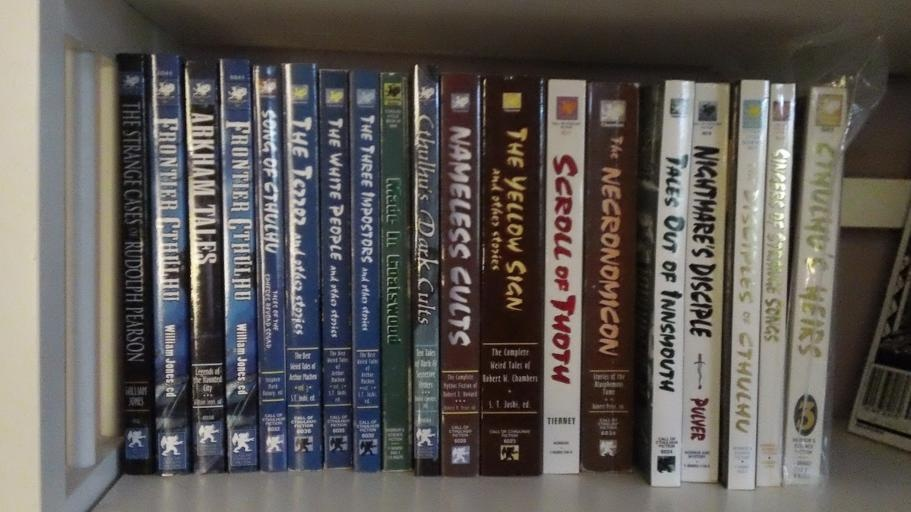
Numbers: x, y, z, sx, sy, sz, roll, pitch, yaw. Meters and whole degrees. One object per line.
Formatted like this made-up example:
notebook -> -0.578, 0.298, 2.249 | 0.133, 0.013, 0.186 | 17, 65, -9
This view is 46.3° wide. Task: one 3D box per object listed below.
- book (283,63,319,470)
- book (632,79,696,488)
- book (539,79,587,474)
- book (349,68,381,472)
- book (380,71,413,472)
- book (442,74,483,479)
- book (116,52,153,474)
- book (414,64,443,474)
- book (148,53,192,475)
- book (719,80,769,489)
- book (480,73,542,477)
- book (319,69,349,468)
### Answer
book -> -0.283, 0.020, 1.977 | 0.063, 0.743, 0.066 | 0, -3, -5
book -> 0.393, 0.050, 1.980 | 0.120, 0.745, 0.069 | -1, -3, 10
book -> 0.204, 0.040, 1.984 | 0.077, 0.727, 0.068 | 0, -3, -4
book -> -0.164, 0.029, 1.977 | 0.055, 0.737, 0.059 | 0, -3, -4
book -> -0.110, 0.029, 1.979 | 0.053, 0.730, 0.062 | 0, -3, -3
book -> 0.011, 0.035, 1.975 | 0.069, 0.738, 0.061 | 0, -3, -4
book -> -0.590, 0.015, 1.964 | 0.061, 0.768, 0.070 | 0, -3, -10
book -> -0.051, 0.028, 1.975 | 0.049, 0.749, 0.063 | 0, -3, -2
book -> -0.527, 0.016, 1.967 | 0.069, 0.770, 0.065 | 0, -3, -10
book -> 0.542, 0.053, 1.973 | 0.066, 0.751, 0.078 | 0, -3, -16
book -> 0.106, 0.038, 1.980 | 0.115, 0.735, 0.060 | 0, -3, -1
book -> -0.222, 0.025, 1.979 | 0.056, 0.731, 0.065 | 0, -3, -7
